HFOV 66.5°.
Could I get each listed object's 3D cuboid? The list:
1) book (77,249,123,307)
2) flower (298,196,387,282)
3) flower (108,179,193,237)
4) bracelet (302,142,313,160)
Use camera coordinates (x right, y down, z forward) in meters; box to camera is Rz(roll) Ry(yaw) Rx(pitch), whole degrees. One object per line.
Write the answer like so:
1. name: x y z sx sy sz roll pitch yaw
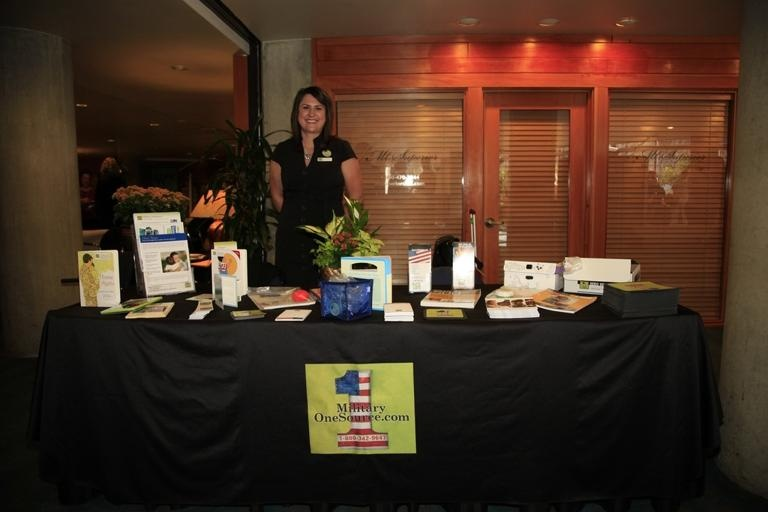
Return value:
1. book: -1.684 0.134 3.478 0.350 0.438 0.080 0 5 13
2. flower: -0.222 -0.127 3.563 0.404 0.444 0.301 3 4 44
3. flower: -1.644 -0.295 3.996 0.461 0.229 0.471 -19 -12 10
4. bracelet: -0.570 -0.783 4.378 0.080 0.108 0.031 1 3 8
